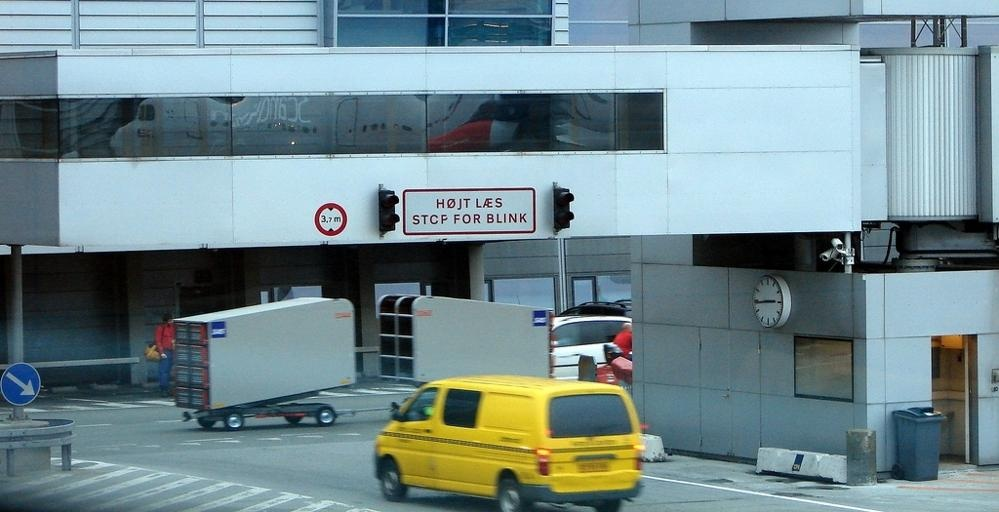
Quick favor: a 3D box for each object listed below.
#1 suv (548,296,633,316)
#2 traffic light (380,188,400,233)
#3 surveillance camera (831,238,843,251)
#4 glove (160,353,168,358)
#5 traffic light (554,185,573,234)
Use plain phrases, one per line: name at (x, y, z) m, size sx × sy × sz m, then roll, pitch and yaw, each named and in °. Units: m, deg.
suv at (4.120, 1.851, 75.425) m, size 2.403 × 0.611 × 0.985 m, roll 3°, pitch -5°, yaw -24°
traffic light at (-3.254, -1.333, 58.360) m, size 0.601 × 1.285 × 0.505 m, roll -1°, pitch 0°, yaw -9°
surveillance camera at (10.044, -0.376, 59.563) m, size 0.313 × 0.304 × 0.357 m, roll 5°, pitch 2°, yaw -36°
glove at (-11.820, 3.470, 70.034) m, size 0.195 × 0.170 × 0.289 m, roll -1°, pitch 0°, yaw 6°
traffic light at (1.850, -1.413, 58.675) m, size 0.611 × 1.389 × 0.607 m, roll -1°, pitch 0°, yaw 0°
